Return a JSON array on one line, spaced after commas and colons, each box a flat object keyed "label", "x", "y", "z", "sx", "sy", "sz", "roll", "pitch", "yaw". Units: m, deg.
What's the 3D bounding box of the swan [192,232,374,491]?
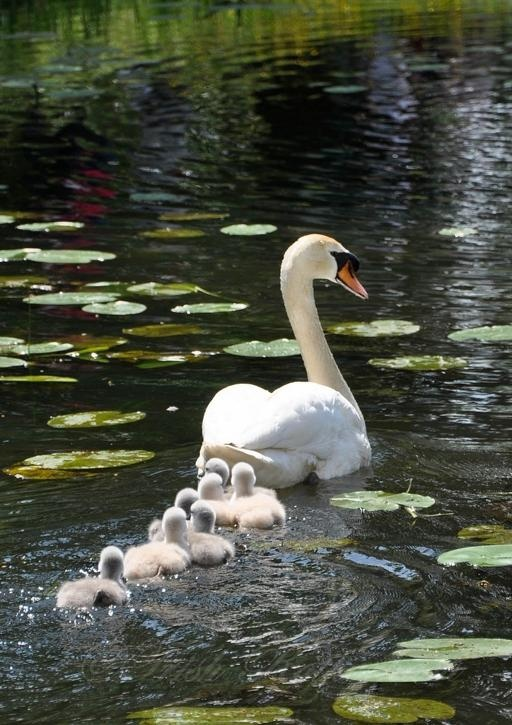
[{"label": "swan", "x": 0.182, "y": -0.014, "z": 5.506, "sx": 0.853, "sy": 1.419, "sz": 1.719, "roll": -4, "pitch": 11, "yaw": 18}]
